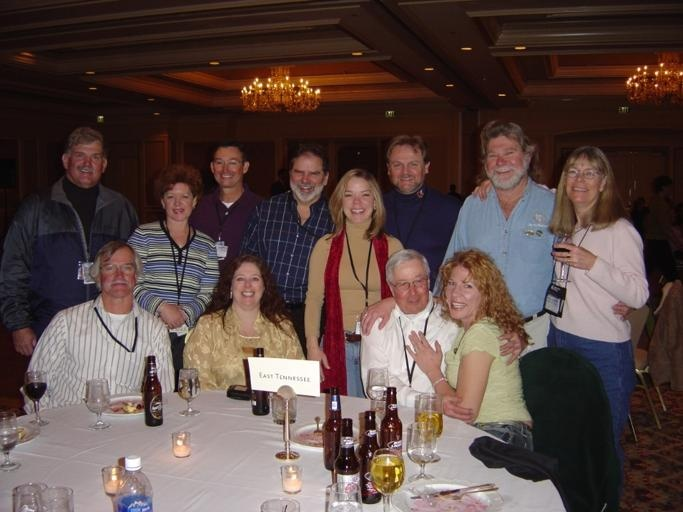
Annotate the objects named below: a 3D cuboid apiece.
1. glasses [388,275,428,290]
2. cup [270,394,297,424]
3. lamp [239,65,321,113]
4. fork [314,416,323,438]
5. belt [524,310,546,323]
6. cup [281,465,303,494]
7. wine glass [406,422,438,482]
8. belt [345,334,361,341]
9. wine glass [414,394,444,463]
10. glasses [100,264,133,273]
[{"bbox_3d":[0.397,0.150,3.139,0.193,0.077,0.062,0,10,4],"label":"glasses"},{"bbox_3d":[-0.277,0.706,2.613,0.138,0.157,0.140,2,-3,0],"label":"cup"},{"bbox_3d":[-1.013,-2.824,9.734,0.973,0.552,1.000,3,2,39],"label":"lamp"},{"bbox_3d":[-0.110,0.794,2.539,0.050,0.082,0.051,0,4,27],"label":"fork"},{"bbox_3d":[1.198,0.356,3.392,0.098,0.023,0.075,-23,4,-23],"label":"belt"},{"bbox_3d":[-0.189,0.843,2.114,0.088,0.104,0.088,1,9,0],"label":"cup"},{"bbox_3d":[0.311,0.776,2.144,0.108,0.192,0.111,-6,4,-40],"label":"wine glass"},{"bbox_3d":[0.080,0.533,3.627,0.054,0.037,0.074,3,11,7],"label":"belt"},{"bbox_3d":[0.398,0.730,2.372,0.111,0.273,0.112,0,-4,29],"label":"wine glass"},{"bbox_3d":[-1.331,0.072,3.224,0.178,0.057,0.055,-4,10,-17],"label":"glasses"}]
